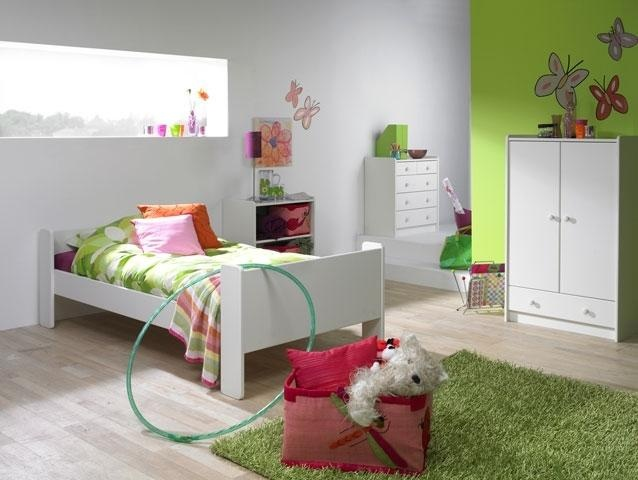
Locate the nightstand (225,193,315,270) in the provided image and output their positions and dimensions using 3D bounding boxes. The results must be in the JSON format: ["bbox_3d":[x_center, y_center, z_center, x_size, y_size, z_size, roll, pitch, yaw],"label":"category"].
[{"bbox_3d":[-0.474,-0.178,5.537,1.081,1.124,0.610,-7,9,-44],"label":"nightstand"}]

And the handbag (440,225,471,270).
[{"bbox_3d":[1.532,0.138,5.407,0.341,0.376,0.279,0,7,8],"label":"handbag"}]

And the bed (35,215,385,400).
[{"bbox_3d":[-0.850,0.347,3.617,1.890,0.788,1.401,6,9,38],"label":"bed"}]

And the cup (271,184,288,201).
[{"bbox_3d":[-0.437,-0.537,5.459,0.150,0.175,0.169,5,14,23],"label":"cup"}]

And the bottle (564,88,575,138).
[{"bbox_3d":[2.158,-1.080,4.151,0.084,0.433,0.491,3,8,28],"label":"bottle"}]

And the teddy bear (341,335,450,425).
[{"bbox_3d":[0.330,0.615,2.158,0.444,0.305,0.217,-32,-23,-2],"label":"teddy bear"}]

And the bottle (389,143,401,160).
[{"bbox_3d":[0.996,-1.138,6.228,0.121,0.214,0.232,0,7,8],"label":"bottle"}]

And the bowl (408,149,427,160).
[{"bbox_3d":[1.291,-1.129,6.374,0.159,0.071,0.159,0,7,0],"label":"bowl"}]

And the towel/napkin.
[{"bbox_3d":[-0.735,0.538,3.044,0.189,0.654,0.396,-5,10,-39],"label":"towel/napkin"}]

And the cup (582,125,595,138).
[{"bbox_3d":[2.149,-0.858,3.851,0.087,0.128,0.074,-4,9,-19],"label":"cup"}]

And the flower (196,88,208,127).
[{"bbox_3d":[-1.236,-1.420,5.234,0.133,0.423,0.083,-6,8,-35],"label":"flower"}]

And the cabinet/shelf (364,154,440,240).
[{"bbox_3d":[1.144,-0.592,6.482,1.039,1.019,0.432,-4,8,-24],"label":"cabinet/shelf"}]

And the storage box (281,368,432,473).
[{"bbox_3d":[0.154,0.840,2.079,0.486,0.271,0.390,2,0,10],"label":"storage box"}]

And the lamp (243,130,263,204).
[{"bbox_3d":[-0.705,-0.828,5.377,0.176,0.731,0.232,-2,7,-7],"label":"lamp"}]

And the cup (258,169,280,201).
[{"bbox_3d":[-0.567,-0.637,5.482,0.358,0.377,0.206,0,-1,-42],"label":"cup"}]
